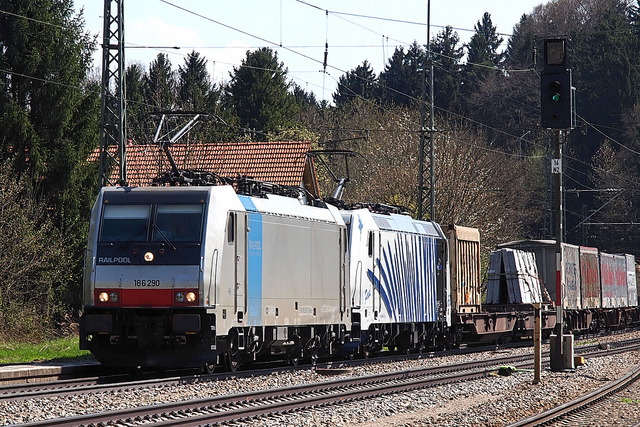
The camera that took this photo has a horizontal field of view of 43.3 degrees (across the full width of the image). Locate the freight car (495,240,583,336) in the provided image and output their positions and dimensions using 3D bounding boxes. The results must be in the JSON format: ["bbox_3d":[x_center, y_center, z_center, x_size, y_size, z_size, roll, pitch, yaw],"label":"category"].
[{"bbox_3d":[10.965,3.581,40.810,3.193,5.623,5.771,-5,-8,38],"label":"freight car"}]
